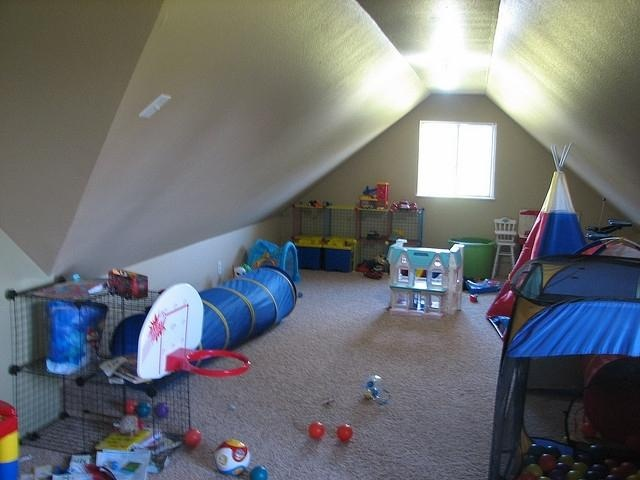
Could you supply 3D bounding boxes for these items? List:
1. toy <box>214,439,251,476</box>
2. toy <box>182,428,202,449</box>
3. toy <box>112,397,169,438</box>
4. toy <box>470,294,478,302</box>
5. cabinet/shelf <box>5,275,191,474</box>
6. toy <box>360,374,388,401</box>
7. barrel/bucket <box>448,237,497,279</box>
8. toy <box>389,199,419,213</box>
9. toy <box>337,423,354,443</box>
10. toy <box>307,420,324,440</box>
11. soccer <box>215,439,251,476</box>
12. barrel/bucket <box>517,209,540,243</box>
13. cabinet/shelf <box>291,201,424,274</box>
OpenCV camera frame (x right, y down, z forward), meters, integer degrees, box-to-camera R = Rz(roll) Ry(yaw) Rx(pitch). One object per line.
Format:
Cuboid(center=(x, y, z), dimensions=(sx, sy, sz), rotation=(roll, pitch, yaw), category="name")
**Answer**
Cuboid(center=(-0.444, 1.127, 2.468), dimensions=(0.154, 0.162, 0.179), rotation=(14, -3, -15), category="toy")
Cuboid(center=(-0.701, 1.105, 2.591), dimensions=(0.089, 0.106, 0.089), rotation=(8, 4, -27), category="toy")
Cuboid(center=(-1.049, 1.030, 2.716), dimensions=(0.188, 0.093, 0.192), rotation=(-1, 10, 13), category="toy")
Cuboid(center=(1.649, 0.632, 5.028), dimensions=(0.069, 0.056, 0.073), rotation=(0, 4, 11), category="toy")
Cuboid(center=(-1.270, 0.715, 2.718), dimensions=(0.919, 0.903, 0.580), rotation=(2, 5, 3), category="cabinet/shelf")
Cuboid(center=(0.370, 1.004, 3.117), dimensions=(0.136, 0.181, 0.109), rotation=(-23, 26, 29), category="toy")
Cuboid(center=(1.881, 0.238, 5.742), dimensions=(0.521, 0.469, 0.623), rotation=(-1, -4, 12), category="barrel/bucket")
Cuboid(center=(1.104, -0.435, 6.165), dimensions=(0.342, 0.159, 0.408), rotation=(0, 5, -21), category="toy")
Cuboid(center=(0.142, 1.115, 2.685), dimensions=(0.095, 0.078, 0.076), rotation=(2, 5, 4), category="toy")
Cuboid(center=(-0.019, 1.111, 2.708), dimensions=(0.096, 0.078, 0.081), rotation=(1, 5, 1), category="toy")
Cuboid(center=(-0.456, 1.122, 2.464), dimensions=(0.154, 0.162, 0.177), rotation=(13, -4, -14), category="soccer")
Cuboid(center=(2.541, -0.183, 5.779), dimensions=(0.303, 0.476, 0.386), rotation=(3, 0, 12), category="barrel/bucket")
Cuboid(center=(0.479, 0.003, 6.345), dimensions=(1.673, 0.966, 0.520), rotation=(4, 3, 9), category="cabinet/shelf")
